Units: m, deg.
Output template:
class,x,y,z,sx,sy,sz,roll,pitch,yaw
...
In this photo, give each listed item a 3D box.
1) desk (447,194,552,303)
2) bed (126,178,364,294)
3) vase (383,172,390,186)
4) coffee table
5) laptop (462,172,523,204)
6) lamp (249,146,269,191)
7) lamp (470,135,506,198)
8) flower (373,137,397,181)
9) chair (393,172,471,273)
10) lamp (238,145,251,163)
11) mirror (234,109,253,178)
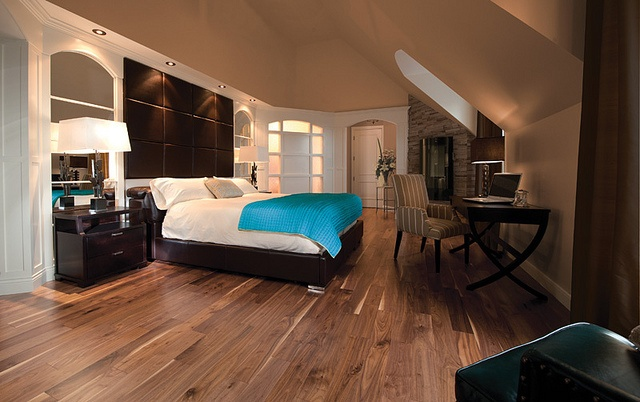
class,x,y,z,sx,sy,sz,roll,pitch,yaw
desk,2.338,0.657,4.786,0.877,1.023,1.636,0,-8,27
bed,-0.962,0.388,4.874,1.879,0.760,1.449,1,5,17
vase,1.546,-0.524,8.980,0.104,0.295,0.206,1,9,12
coffee table,-2.658,0.409,4.832,0.795,1.090,1.137,1,3,26
laptop,2.048,-0.163,4.584,0.461,0.346,0.562,-3,5,-7
lamp,-1.260,-0.630,7.159,0.302,0.803,0.354,0,0,37
lamp,2.399,-0.482,5.447,0.451,0.803,0.412,1,2,30
flower,1.619,-0.977,9.413,0.469,1.053,1.421,1,8,8
chair,1.478,0.223,5.063,0.990,1.143,0.998,0,6,-5
lamp,-1.415,-0.878,7.050,0.220,0.275,0.362,-6,10,-33
mirror,-1.676,-1.064,7.716,0.043,1.272,0.920,2,22,-28
